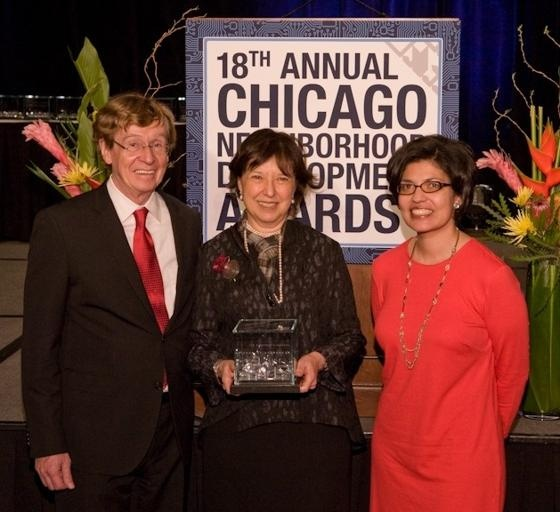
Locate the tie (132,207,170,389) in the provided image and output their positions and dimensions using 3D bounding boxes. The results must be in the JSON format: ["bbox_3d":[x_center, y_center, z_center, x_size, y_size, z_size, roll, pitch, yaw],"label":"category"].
[{"bbox_3d":[-0.481,0.007,2.157,0.091,0.072,0.788,-2,33,-20],"label":"tie"}]

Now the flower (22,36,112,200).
[{"bbox_3d":[-0.858,-0.645,2.739,0.303,0.535,0.434,-16,28,8],"label":"flower"}]

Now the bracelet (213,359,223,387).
[{"bbox_3d":[-0.203,0.379,1.946,0.039,0.063,0.020,-2,-3,-26],"label":"bracelet"}]

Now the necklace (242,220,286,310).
[{"bbox_3d":[-0.039,0.029,2.007,0.084,0.335,0.057,-2,-38,-3],"label":"necklace"}]
